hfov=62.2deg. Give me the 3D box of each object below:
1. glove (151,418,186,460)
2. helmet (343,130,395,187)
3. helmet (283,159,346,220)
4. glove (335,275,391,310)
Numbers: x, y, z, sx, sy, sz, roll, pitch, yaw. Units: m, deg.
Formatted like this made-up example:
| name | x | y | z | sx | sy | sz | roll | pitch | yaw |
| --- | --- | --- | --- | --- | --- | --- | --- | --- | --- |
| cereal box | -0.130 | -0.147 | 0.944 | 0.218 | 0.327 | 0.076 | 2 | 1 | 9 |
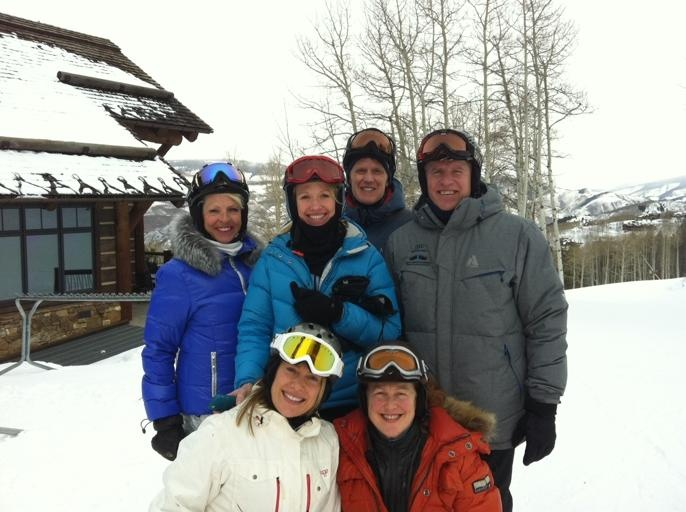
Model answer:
| name | x | y | z | sx | sy | sz | roll | pitch | yaw |
| --- | --- | --- | --- | --- | --- | --- | --- | --- | --- |
| glove | -1.548 | 1.691 | 5.324 | 0.362 | 0.473 | 0.339 | 1 | -18 | -6 |
| helmet | 0.293 | -1.084 | 6.351 | 0.413 | 0.592 | 0.563 | 4 | 36 | 6 |
| helmet | -0.273 | -0.669 | 5.470 | 0.473 | 0.582 | 0.624 | -2 | 15 | -1 |
| glove | 0.170 | 0.367 | 5.303 | 0.457 | 0.219 | 0.290 | 27 | -8 | -7 |
